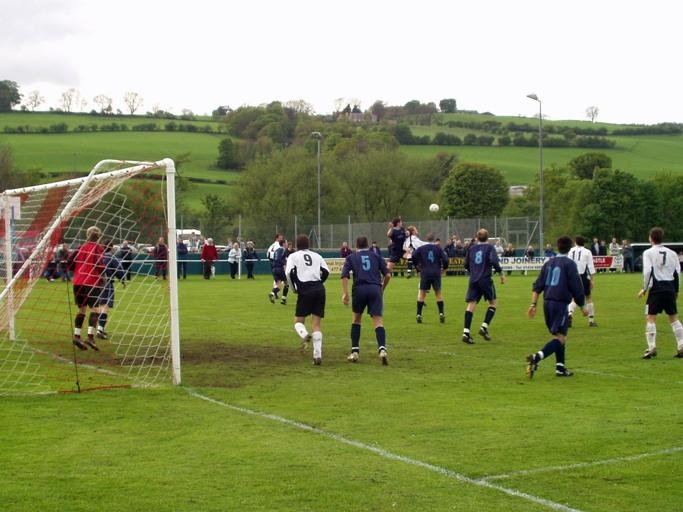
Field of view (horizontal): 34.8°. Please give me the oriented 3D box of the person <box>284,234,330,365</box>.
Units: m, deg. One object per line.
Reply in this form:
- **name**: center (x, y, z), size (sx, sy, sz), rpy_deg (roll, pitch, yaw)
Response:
- **person**: center (-0.552, 0.763, 19.989), size (0.698, 2.253, 0.907), rpy_deg (-9, 13, -43)

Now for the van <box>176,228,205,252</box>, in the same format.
- **van**: center (-7.204, -0.677, 51.753), size (1.121, 1.074, 1.719), rpy_deg (0, -1, -28)

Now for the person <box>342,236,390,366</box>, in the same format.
- **person**: center (0.418, 0.824, 20.143), size (0.887, 2.326, 1.494), rpy_deg (0, 10, 2)

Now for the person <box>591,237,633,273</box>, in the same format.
- **person**: center (11.804, 0.191, 47.181), size (1.185, 1.208, 1.988), rpy_deg (5, 11, 31)

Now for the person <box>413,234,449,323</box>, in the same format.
- **person**: center (2.075, 0.509, 25.300), size (0.767, 2.114, 0.564), rpy_deg (0, -2, 5)
